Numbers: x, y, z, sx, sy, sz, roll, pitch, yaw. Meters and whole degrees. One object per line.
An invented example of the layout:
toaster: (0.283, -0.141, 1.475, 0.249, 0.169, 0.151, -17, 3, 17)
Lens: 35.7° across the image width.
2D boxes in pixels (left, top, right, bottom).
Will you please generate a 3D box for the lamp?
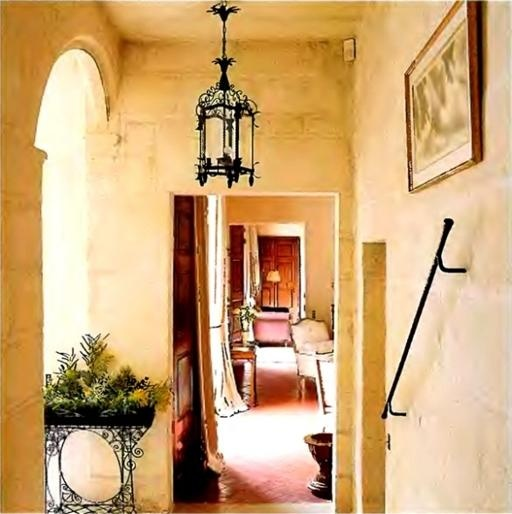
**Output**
lamp: (-0.165, -1.081, 5.254, 0.462, 1.253, 1.341, 1, 4, -4)

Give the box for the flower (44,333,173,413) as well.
flower: (-1.095, 0.912, 5.553, 0.606, 0.465, 0.570, 4, -11, -3)

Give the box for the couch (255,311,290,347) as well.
couch: (0.305, 1.325, 14.414, 0.678, 0.446, 1.835, 2, 4, 1)
